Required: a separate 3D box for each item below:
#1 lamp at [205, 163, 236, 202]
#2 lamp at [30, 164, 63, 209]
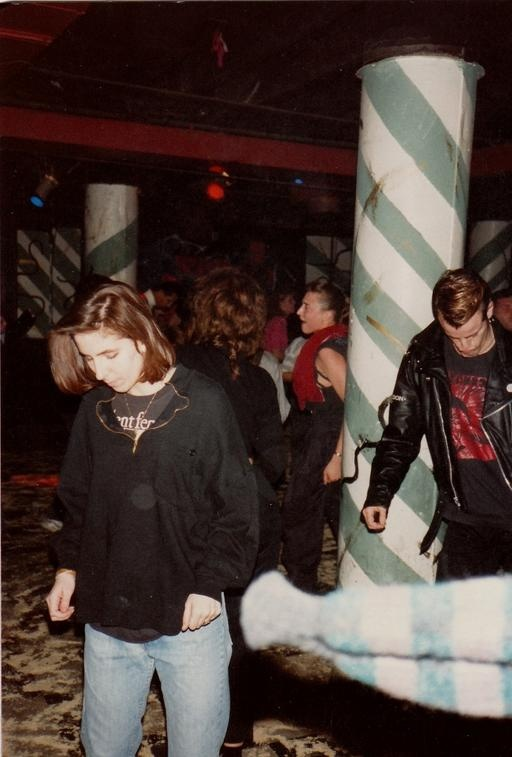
[{"bbox_3d":[-0.457,-2.278,8.536,0.243,0.210,0.413,1,0,1],"label":"lamp"},{"bbox_3d":[-2.128,-1.939,7.213,0.242,0.410,0.388,7,0,-30],"label":"lamp"}]
